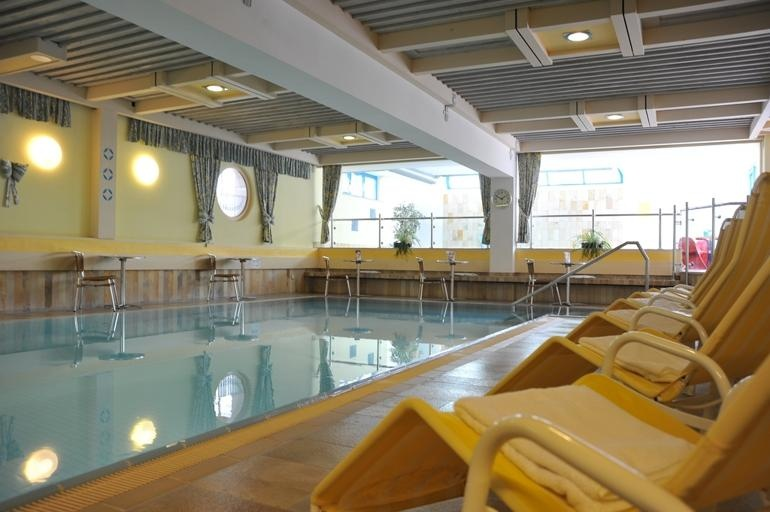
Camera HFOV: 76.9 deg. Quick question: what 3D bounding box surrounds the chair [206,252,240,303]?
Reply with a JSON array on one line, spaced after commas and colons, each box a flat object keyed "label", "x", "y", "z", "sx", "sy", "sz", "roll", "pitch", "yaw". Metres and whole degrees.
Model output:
[{"label": "chair", "x": -3.591, "y": 0.410, "z": 10.849, "sx": 0.750, "sy": 0.899, "sz": 0.705, "roll": 2, "pitch": 12, "yaw": -6}]
